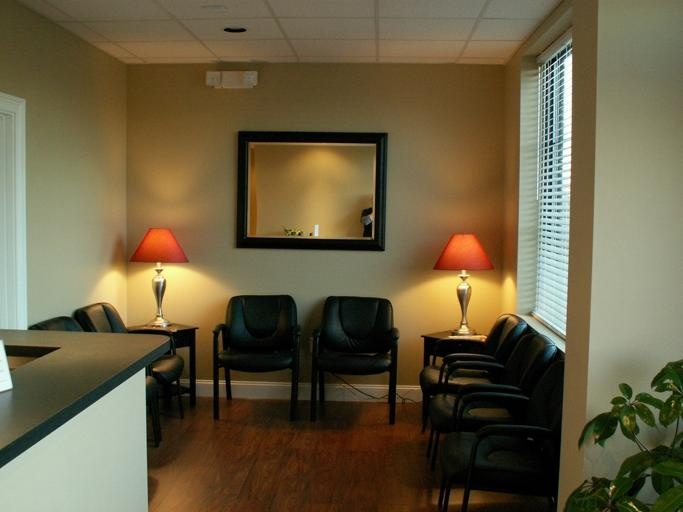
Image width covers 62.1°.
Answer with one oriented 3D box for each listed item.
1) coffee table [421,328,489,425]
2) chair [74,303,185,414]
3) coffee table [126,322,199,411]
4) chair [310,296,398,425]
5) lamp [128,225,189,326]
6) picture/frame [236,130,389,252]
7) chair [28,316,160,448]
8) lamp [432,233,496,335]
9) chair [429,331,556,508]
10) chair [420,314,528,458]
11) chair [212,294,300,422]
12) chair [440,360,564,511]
[{"bbox_3d":[0.986,1.057,5.010,0.683,0.762,0.667,4,2,-15],"label":"coffee table"},{"bbox_3d":[-1.688,0.880,4.567,0.718,0.983,0.617,-3,9,-6],"label":"chair"},{"bbox_3d":[-1.515,0.964,5.122,0.455,0.615,0.507,-1,-1,16],"label":"coffee table"},{"bbox_3d":[0.132,0.897,5.001,0.753,0.971,0.685,1,8,2],"label":"chair"},{"bbox_3d":[-1.665,0.195,5.178,0.488,0.881,0.489,0,3,-13],"label":"lamp"},{"bbox_3d":[-0.222,-0.635,5.213,0.963,0.886,0.083,1,5,2],"label":"picture/frame"},{"bbox_3d":[-1.705,0.881,4.262,0.799,0.990,0.818,13,-6,-29],"label":"chair"},{"bbox_3d":[1.090,0.252,5.035,0.503,0.897,0.520,-4,7,-30],"label":"lamp"},{"bbox_3d":[0.804,0.990,3.730,0.901,1.287,0.843,0,-6,3],"label":"chair"},{"bbox_3d":[1.007,0.938,4.634,0.831,1.352,0.957,3,-3,1],"label":"chair"},{"bbox_3d":[-0.730,0.880,4.997,0.700,1.074,0.642,2,-2,-10],"label":"chair"},{"bbox_3d":[0.990,1.082,3.633,0.822,1.133,0.738,1,-7,-1],"label":"chair"}]
